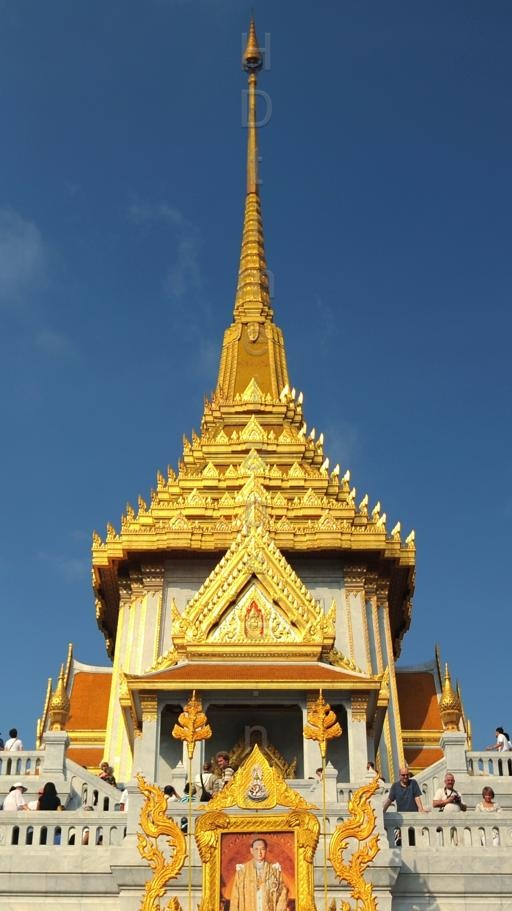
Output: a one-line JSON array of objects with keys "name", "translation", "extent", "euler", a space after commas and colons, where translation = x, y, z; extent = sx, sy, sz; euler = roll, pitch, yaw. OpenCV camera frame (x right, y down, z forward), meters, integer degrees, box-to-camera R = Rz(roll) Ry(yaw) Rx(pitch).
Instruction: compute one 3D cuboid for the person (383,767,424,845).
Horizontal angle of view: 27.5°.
[{"name": "person", "translation": [1.795, 4.313, 12.807], "extent": [0.431, 1.065, 1.029], "euler": [-4, -30, 9]}]
